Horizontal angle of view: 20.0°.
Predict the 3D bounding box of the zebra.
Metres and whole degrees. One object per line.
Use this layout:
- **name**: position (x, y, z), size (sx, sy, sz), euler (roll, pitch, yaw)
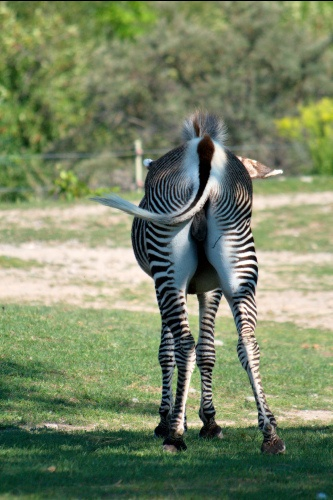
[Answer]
- **zebra**: position (0.226, 0.257, 6.801), size (1.014, 2.423, 1.556), euler (3, 12, -23)
